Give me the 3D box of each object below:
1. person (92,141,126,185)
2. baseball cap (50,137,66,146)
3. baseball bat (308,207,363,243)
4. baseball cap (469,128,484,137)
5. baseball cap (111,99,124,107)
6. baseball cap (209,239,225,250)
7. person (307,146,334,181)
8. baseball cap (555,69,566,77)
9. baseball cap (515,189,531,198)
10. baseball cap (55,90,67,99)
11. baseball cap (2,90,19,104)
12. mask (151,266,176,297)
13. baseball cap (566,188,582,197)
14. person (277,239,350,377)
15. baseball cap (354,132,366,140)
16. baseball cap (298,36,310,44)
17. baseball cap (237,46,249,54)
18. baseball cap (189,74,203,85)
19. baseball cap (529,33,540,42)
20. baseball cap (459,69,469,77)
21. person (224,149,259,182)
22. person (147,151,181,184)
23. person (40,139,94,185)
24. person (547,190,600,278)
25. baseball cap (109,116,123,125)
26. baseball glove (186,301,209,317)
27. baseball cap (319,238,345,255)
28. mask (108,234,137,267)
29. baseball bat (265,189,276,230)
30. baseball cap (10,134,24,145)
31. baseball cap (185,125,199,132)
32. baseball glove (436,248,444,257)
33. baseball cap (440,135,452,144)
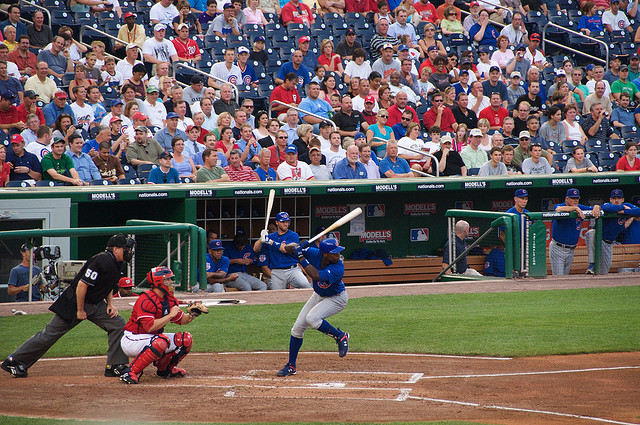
[{"bbox_3d":[-5.082,-1.112,25.864,0.875,1.050,0.729,-8,18,-25],"label":"person"},{"bbox_3d":[-6.093,-1.645,25.086,0.243,0.105,0.380,0,-3,-28],"label":"baseball cap"},{"bbox_3d":[0.321,0.315,26.855,1.666,0.188,0.135,-27,-36,-13],"label":"baseball bat"},{"bbox_3d":[4.119,-2.082,28.550,0.278,0.220,0.298,1,-4,7],"label":"baseball cap"},{"bbox_3d":[-4.971,-2.650,26.659,0.305,0.259,0.422,2,-4,-12],"label":"baseball cap"},{"bbox_3d":[-2.479,0.781,25.779,0.285,0.217,0.230,2,-4,-8],"label":"baseball cap"},{"bbox_3d":[0.030,-1.192,27.509,0.785,0.883,0.515,5,-5,-41],"label":"person"},{"bbox_3d":[7.504,-4.318,33.676,0.247,0.191,0.380,2,-2,6],"label":"baseball cap"},{"bbox_3d":[5.006,-0.447,26.906,0.293,0.208,0.446,1,-4,6],"label":"baseball cap"},{"bbox_3d":[-6.325,-2.856,26.529,0.279,0.195,0.438,9,6,-14],"label":"baseball cap"},{"bbox_3d":[-7.525,-2.758,26.345,0.375,0.188,0.251,9,16,-19],"label":"baseball cap"},{"bbox_3d":[-2.947,1.278,20.180,0.564,0.527,0.454,2,4,7],"label":"mask"},{"bbox_3d":[6.369,-0.457,27.258,0.291,0.233,0.541,0,-4,13],"label":"baseball cap"},{"bbox_3d":[-0.047,1.839,20.943,1.207,2.580,1.115,1,-4,1],"label":"person"},{"bbox_3d":[1.063,-1.986,28.517,0.299,0.231,0.444,1,-4,1],"label":"baseball cap"},{"bbox_3d":[-0.454,-4.971,31.584,0.273,0.250,0.580,1,-4,-2],"label":"baseball cap"},{"bbox_3d":[-2.142,-4.488,30.254,0.290,0.285,0.488,2,-4,-7],"label":"baseball cap"},{"bbox_3d":[-3.248,-3.454,28.455,0.323,0.233,0.231,4,20,10],"label":"baseball cap"},{"bbox_3d":[6.984,-5.657,35.238,0.295,0.165,0.428,3,5,3],"label":"baseball cap"},{"bbox_3d":[4.168,-3.983,31.205,0.146,0.222,0.225,5,13,2],"label":"baseball cap"},{"bbox_3d":[-1.951,-1.104,26.716,0.806,0.807,0.399,4,-5,-33],"label":"person"},{"bbox_3d":[-3.756,-1.007,26.069,0.544,0.766,0.802,-1,-5,28],"label":"person"},{"bbox_3d":[-6.024,-1.185,25.715,1.309,1.271,0.671,9,16,14],"label":"person"},{"bbox_3d":[6.243,0.557,27.014,1.083,2.186,0.813,1,-4,10],"label":"person"},{"bbox_3d":[-4.965,-2.230,26.434,0.317,0.212,0.277,2,-4,-13],"label":"baseball cap"},{"bbox_3d":[-2.295,1.779,20.075,0.295,0.203,0.388,17,-8,-27],"label":"baseball glove"},{"bbox_3d":[0.189,0.668,20.594,0.393,0.208,0.282,1,10,0],"label":"baseball cap"},{"bbox_3d":[-3.696,0.673,20.473,0.495,0.514,0.376,6,8,11],"label":"mask"},{"bbox_3d":[-1.073,-0.114,23.295,0.164,1.082,0.056,6,-11,4],"label":"baseball bat"},{"bbox_3d":[-6.916,-1.645,24.763,0.245,0.229,0.327,3,-4,-17],"label":"baseball cap"},{"bbox_3d":[-3.138,-2.044,26.781,0.303,0.204,0.284,2,-4,-11],"label":"baseball cap"},{"bbox_3d":[3.233,1.095,29.213,0.185,0.227,0.184,0,-9,5],"label":"baseball glove"},{"bbox_3d":[3.323,-1.903,28.500,0.312,0.260,0.502,1,-4,6],"label":"baseball cap"}]
